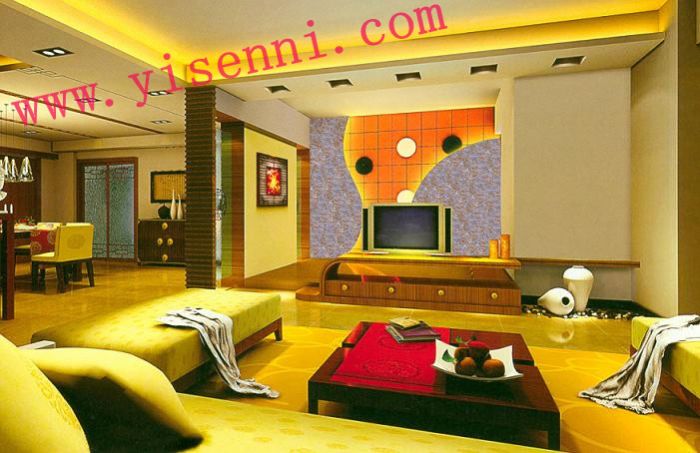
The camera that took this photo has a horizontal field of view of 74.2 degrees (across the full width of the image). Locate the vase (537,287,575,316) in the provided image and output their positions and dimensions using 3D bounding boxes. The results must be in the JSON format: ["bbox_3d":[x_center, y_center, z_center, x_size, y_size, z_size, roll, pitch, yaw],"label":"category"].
[{"bbox_3d":[2.599,0.934,5.944,0.438,0.339,0.294,7,16,28],"label":"vase"}]

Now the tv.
[{"bbox_3d":[0.863,0.224,6.550,1.358,0.706,0.688,1,2,14],"label":"tv"}]

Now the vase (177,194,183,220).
[{"bbox_3d":[-3.461,-0.404,9.554,0.128,0.407,0.339,-4,15,-13],"label":"vase"}]

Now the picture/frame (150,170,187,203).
[{"bbox_3d":[-3.764,-0.849,9.800,1.051,0.654,0.068,2,-5,31],"label":"picture/frame"}]

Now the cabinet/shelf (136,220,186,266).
[{"bbox_3d":[-3.716,0.309,9.326,1.103,0.748,0.612,1,3,13],"label":"cabinet/shelf"}]
